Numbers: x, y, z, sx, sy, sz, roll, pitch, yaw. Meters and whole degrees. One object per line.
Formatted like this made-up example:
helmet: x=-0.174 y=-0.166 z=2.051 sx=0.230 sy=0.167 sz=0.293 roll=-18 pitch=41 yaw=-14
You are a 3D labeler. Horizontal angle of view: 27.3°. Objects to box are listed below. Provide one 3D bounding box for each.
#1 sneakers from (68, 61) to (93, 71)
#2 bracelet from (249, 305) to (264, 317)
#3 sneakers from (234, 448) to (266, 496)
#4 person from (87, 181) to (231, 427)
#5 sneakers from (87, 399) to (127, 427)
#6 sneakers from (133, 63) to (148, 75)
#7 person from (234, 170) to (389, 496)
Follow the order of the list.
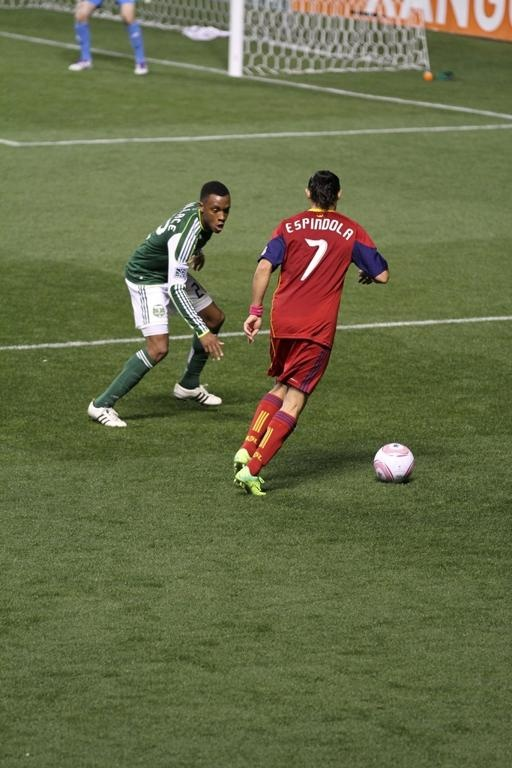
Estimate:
sneakers: x=-3.057 y=-5.492 z=18.064 sx=0.487 sy=0.165 sz=0.164 roll=-4 pitch=7 yaw=-27
bracelet: x=0.008 y=-0.343 z=4.807 sx=0.076 sy=0.042 sz=0.055 roll=-1 pitch=14 yaw=-8
sneakers: x=-0.030 y=0.400 z=4.776 sx=0.147 sy=0.211 sz=0.233 roll=1 pitch=16 yaw=0
person: x=-0.553 y=-0.463 z=5.938 sx=0.763 sy=1.403 sz=1.492 roll=0 pitch=17 yaw=-3
sneakers: x=-0.849 y=0.171 z=5.955 sx=0.293 sy=0.098 sz=0.094 roll=13 pitch=40 yaw=4
sneakers: x=-1.984 y=-5.467 z=18.092 sx=0.113 sy=0.104 sz=0.296 roll=-1 pitch=-2 yaw=-13
person: x=0.173 y=-0.252 z=4.844 sx=0.904 sy=1.445 sz=0.376 roll=-13 pitch=23 yaw=-36
